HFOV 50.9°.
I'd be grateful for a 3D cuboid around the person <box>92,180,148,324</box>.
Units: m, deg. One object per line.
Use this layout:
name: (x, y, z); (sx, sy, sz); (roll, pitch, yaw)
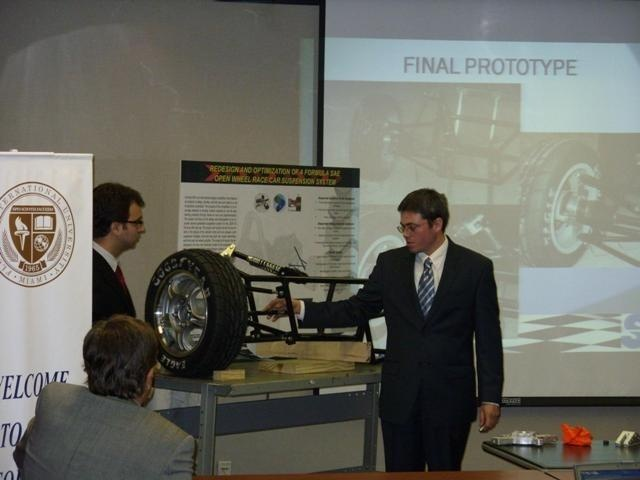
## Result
person: (-1.338, 0.068, 4.446); (0.333, 0.902, 0.456); (3, 0, -18)
